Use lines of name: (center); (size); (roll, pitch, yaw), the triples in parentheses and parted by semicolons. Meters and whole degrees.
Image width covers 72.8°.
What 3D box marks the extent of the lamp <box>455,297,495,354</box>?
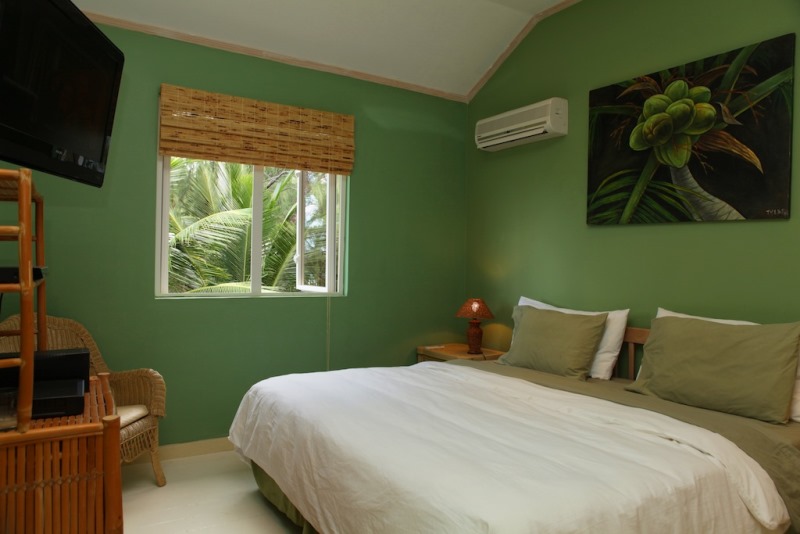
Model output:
lamp: (0.644, 0.523, 4.809); (0.421, 0.598, 0.427); (-3, -5, 26)

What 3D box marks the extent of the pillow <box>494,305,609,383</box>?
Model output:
pillow: (1.125, 0.536, 3.885); (0.156, 0.520, 0.527); (32, -15, -37)
